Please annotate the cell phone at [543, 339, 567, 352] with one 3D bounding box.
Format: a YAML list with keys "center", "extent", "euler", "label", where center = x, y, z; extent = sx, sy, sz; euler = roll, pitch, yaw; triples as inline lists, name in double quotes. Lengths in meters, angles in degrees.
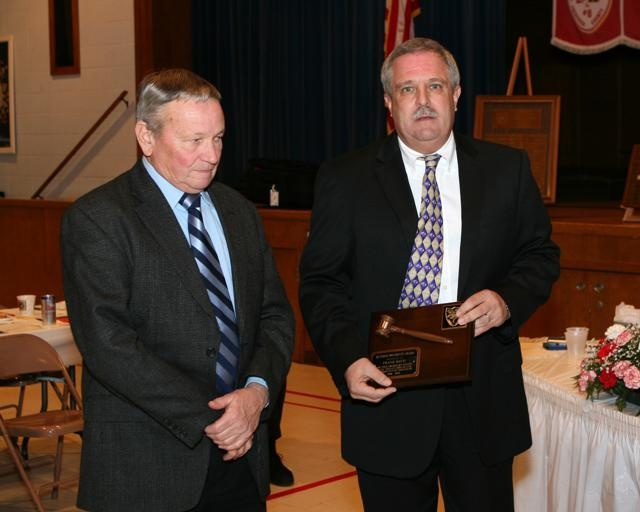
- center: [1.260, 0.481, 3.302]
  extent: [0.088, 0.022, 0.090]
  euler: [0, 4, 4]
  label: "cell phone"

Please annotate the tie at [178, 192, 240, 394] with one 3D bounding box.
- center: [-0.334, 0.113, 1.914]
  extent: [0.172, 0.640, 0.183]
  euler: [-9, 20, -42]
  label: "tie"

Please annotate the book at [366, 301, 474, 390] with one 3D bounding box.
- center: [0.283, 0.241, 1.715]
  extent: [0.286, 0.204, 0.144]
  euler: [2, 11, 5]
  label: "book"

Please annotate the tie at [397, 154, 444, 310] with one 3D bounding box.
- center: [0.325, -0.081, 1.885]
  extent: [0.116, 0.453, 0.198]
  euler: [4, 11, 17]
  label: "tie"

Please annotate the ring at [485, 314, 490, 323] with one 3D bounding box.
- center: [0.475, 0.176, 1.747]
  extent: [0.016, 0.016, 0.011]
  euler: [-1, -9, 4]
  label: "ring"
